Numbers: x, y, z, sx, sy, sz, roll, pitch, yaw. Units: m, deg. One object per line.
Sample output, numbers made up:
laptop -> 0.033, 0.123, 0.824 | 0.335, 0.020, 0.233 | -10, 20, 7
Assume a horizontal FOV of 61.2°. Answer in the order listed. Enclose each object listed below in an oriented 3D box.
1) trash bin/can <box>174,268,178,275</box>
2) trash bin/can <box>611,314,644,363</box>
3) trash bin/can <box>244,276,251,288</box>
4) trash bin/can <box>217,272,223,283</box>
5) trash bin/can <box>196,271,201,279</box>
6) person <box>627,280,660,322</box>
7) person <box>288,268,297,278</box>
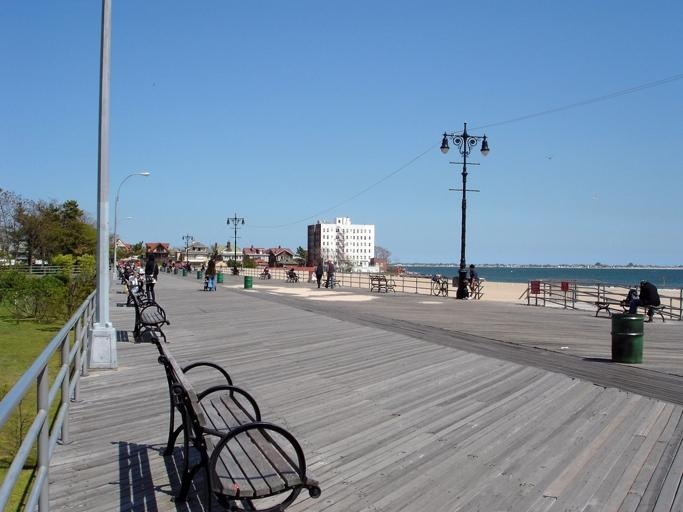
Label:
trash bin/can -> -21.237, 1.965, 74.024 | 0.608, 0.690, 0.631 | 1, 5, 9
trash bin/can -> 5.328, 1.531, 10.821 | 0.526, 0.747, 0.536 | 1, 0, 25
trash bin/can -> -5.584, 1.576, 34.502 | 0.599, 0.681, 0.622 | 0, -2, -4
trash bin/can -> -8.959, 1.599, 43.021 | 0.701, 0.773, 0.706 | -2, 5, -19
trash bin/can -> -13.081, 1.750, 52.963 | 0.626, 0.702, 0.629 | -3, 5, -36
person -> 9.654, 1.414, 18.513 | 0.888, 1.013, 2.532 | 1, -1, 31
person -> -3.688, 1.314, 44.657 | 0.588, 0.856, 0.788 | 2, -8, -15
